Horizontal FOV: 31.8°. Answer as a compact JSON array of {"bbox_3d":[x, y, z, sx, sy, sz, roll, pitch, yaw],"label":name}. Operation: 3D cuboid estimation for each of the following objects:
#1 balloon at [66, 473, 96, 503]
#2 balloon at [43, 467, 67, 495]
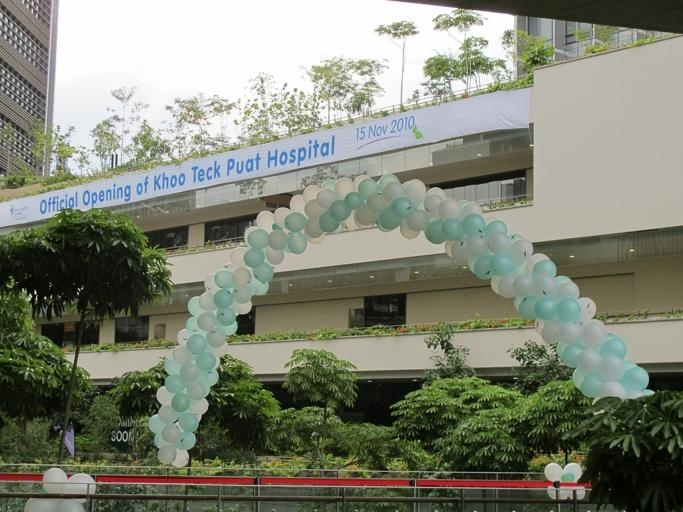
[{"bbox_3d":[-5.400,4.833,24.855,0.603,0.624,1.000,4,-18,-11],"label":"balloon"},{"bbox_3d":[-5.941,4.718,24.896,0.491,0.580,0.683,5,-18,-14],"label":"balloon"}]
